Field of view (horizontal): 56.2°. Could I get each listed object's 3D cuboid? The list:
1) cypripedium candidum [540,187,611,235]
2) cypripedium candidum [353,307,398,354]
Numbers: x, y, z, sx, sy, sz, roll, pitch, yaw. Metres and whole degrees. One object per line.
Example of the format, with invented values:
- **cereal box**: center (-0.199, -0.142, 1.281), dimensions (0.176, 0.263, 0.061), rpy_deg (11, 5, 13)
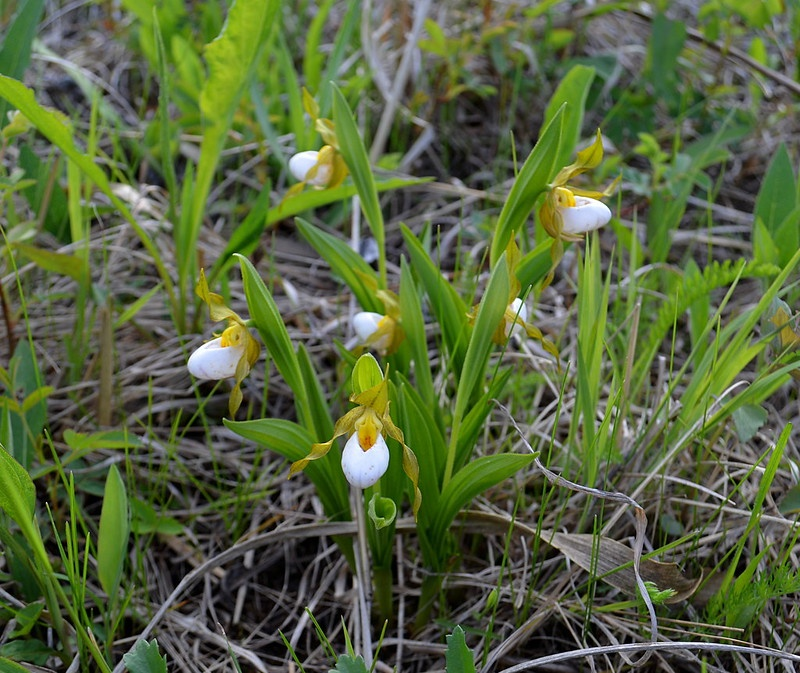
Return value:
- **cypripedium candidum**: center (0.555, -0.385, 2.367), dimensions (0.159, 0.109, 0.169), rpy_deg (4, 78, 17)
- **cypripedium candidum**: center (-0.087, -0.016, 2.561), dimensions (0.124, 0.181, 0.112), rpy_deg (-1, 29, 14)
